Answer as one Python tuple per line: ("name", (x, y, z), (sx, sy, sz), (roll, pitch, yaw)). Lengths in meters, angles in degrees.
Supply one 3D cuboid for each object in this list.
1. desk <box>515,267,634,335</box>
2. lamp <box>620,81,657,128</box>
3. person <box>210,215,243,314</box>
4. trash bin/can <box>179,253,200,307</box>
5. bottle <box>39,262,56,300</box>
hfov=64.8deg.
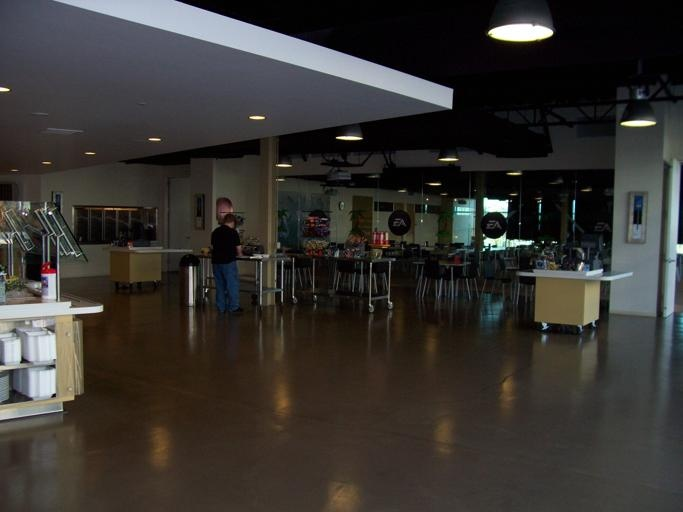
("desk", (3.904, 0.693, 9.109), (1.753, 1.053, 1.707), (-3, 5, -35))
("lamp", (4.508, -2.284, 8.162), (0.493, 0.584, 0.497), (-8, 15, -13))
("person", (-2.138, 0.132, 10.051), (0.560, 1.808, 0.378), (1, 5, 3))
("trash bin/can", (-3.035, 0.496, 10.785), (0.390, 0.951, 0.586), (-1, 5, -16))
("bottle", (-2.686, 0.234, 4.942), (0.172, 0.340, 0.098), (5, 7, 42))
